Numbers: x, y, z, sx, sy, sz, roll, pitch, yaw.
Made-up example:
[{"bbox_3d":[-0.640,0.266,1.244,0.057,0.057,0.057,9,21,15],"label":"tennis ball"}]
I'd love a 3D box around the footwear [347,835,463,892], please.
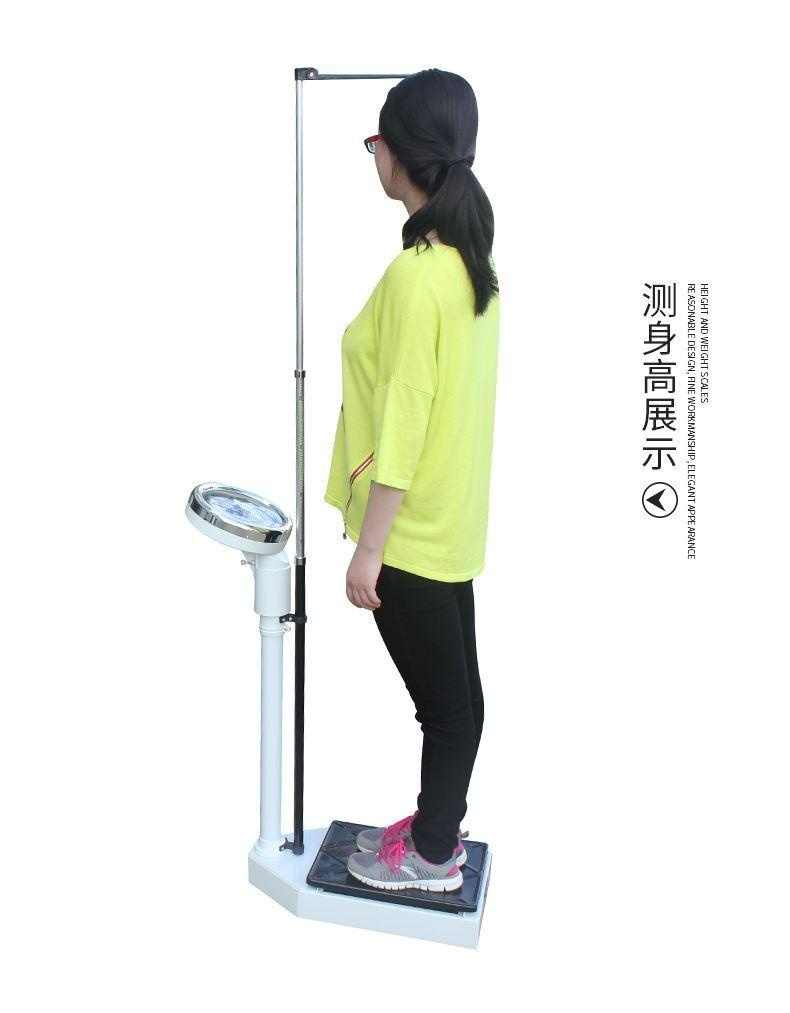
[{"bbox_3d":[0.020,0.886,2.789,0.289,0.134,0.112,5,0,9],"label":"footwear"}]

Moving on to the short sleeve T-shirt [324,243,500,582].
[{"bbox_3d":[0.049,-0.198,2.352,0.364,0.711,0.564,10,17,26],"label":"short sleeve T-shirt"}]
